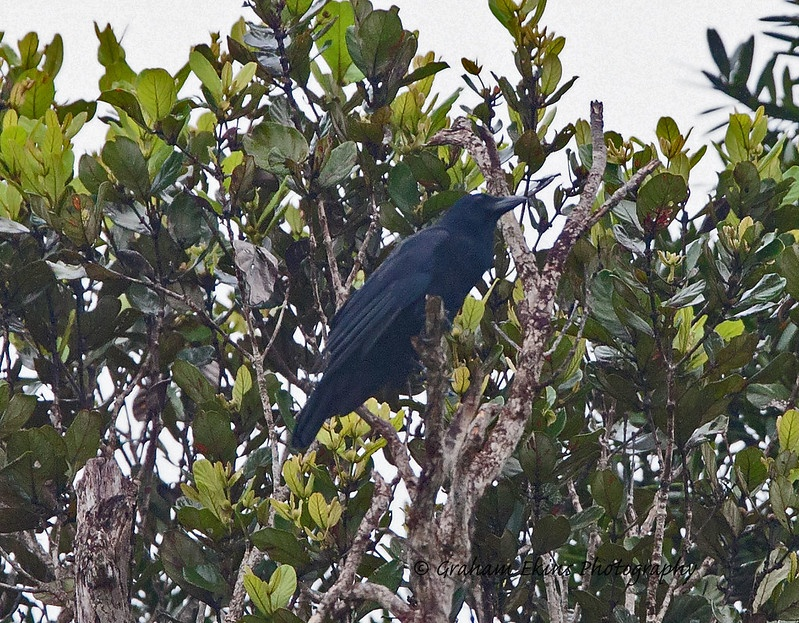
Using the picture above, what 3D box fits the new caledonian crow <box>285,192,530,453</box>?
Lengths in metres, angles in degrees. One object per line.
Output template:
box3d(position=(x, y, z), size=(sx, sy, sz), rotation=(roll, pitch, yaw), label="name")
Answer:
box3d(position=(0.057, 0.025, 10.713), size=(1.167, 1.649, 0.637), rotation=(-3, -32, 13), label="new caledonian crow")
